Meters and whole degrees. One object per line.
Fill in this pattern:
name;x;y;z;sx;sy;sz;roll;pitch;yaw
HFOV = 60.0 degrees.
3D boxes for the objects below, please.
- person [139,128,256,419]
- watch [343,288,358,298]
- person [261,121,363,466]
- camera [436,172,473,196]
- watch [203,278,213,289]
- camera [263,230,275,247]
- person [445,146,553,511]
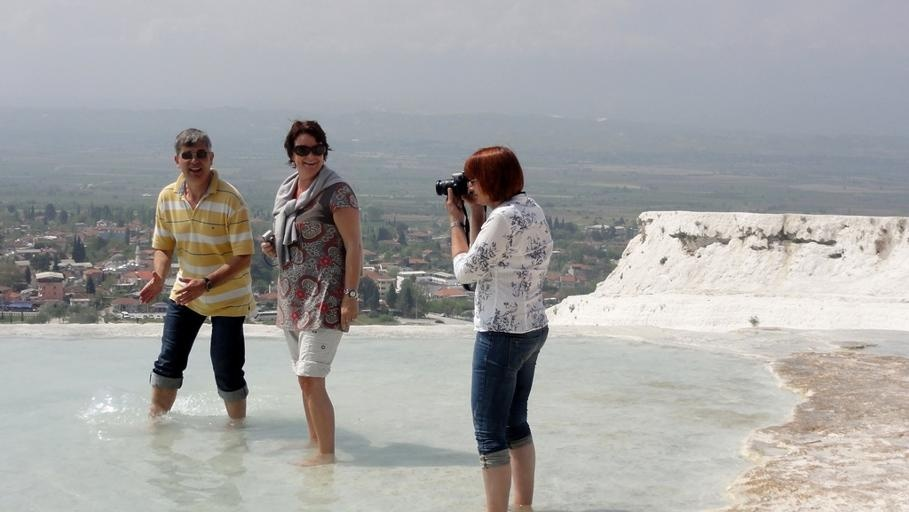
person;-2.571;0.225;7.950;1.161;2.964;0.823;0;16;1
watch;-0.962;0.346;7.296;0.119;0.092;0.046;2;16;8
person;-1.295;0.326;7.433;0.827;3.120;0.963;-8;18;-24
camera;-0.008;-0.605;6.724;0.272;0.125;0.233;-2;3;4
watch;-2.390;0.263;7.624;0.088;0.102;0.108;-6;22;-24
camera;-1.751;-0.165;7.407;0.066;0.133;0.172;-4;5;37
person;0.372;0.633;6.589;0.861;3.043;0.915;0;16;-1
